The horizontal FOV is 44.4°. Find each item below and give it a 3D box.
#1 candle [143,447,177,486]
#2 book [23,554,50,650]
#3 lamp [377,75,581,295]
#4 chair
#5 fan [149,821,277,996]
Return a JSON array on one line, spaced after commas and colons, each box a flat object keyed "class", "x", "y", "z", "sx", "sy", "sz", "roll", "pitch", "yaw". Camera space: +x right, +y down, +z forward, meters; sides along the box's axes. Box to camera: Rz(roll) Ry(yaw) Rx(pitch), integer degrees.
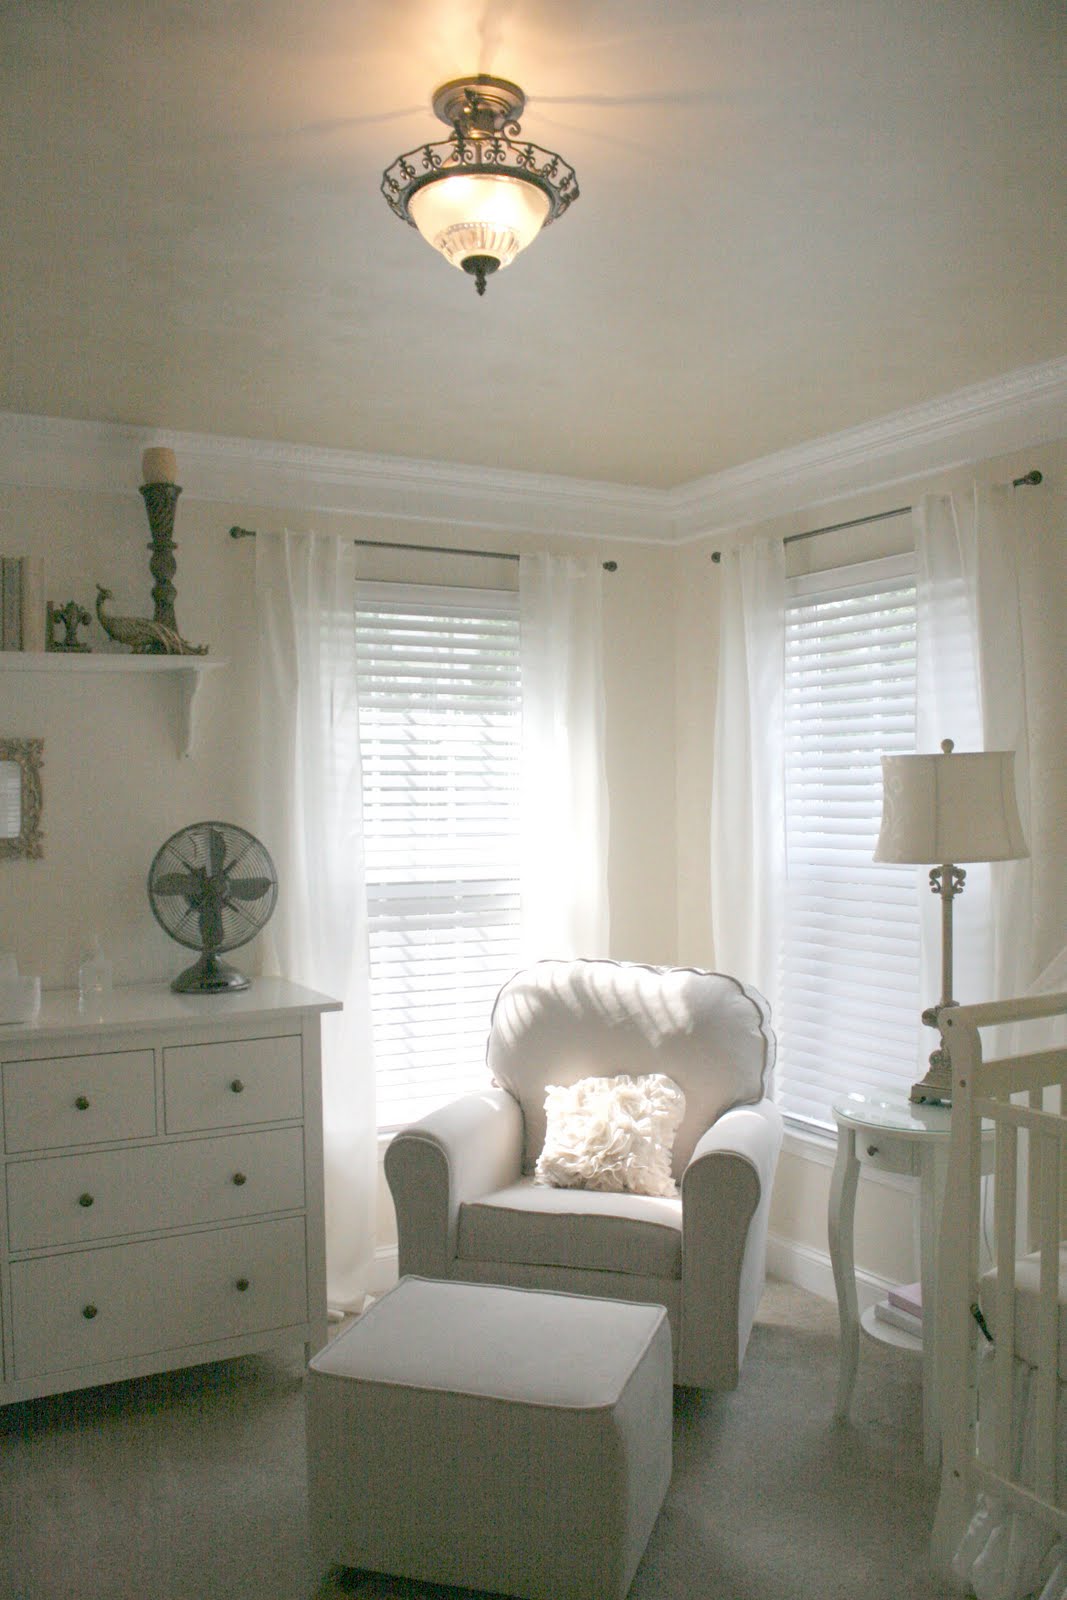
[{"class": "candle", "x": -0.875, "y": -0.778, "z": 3.076, "sx": 0.075, "sy": 0.099, "sz": 0.090, "roll": 0, "pitch": -2, "yaw": -3}, {"class": "book", "x": -1.111, "y": -0.435, "z": 2.950, "sx": 0.041, "sy": 0.200, "sz": 0.165, "roll": 1, "pitch": 4, "yaw": -6}, {"class": "lamp", "x": -0.071, "y": -0.791, "z": 1.772, "sx": 0.219, "sy": 0.241, "sz": 0.234, "roll": 0, "pitch": -6, "yaw": -2}, {"class": "chair", "x": 0.167, "y": 0.750, "z": 3.100, "sx": 0.958, "sy": 1.088, "sz": 0.810, "roll": 0, "pitch": -3, "yaw": 20}, {"class": "fan", "x": -0.797, "y": 0.260, "z": 3.176, "sx": 0.329, "sy": 0.508, "sz": 0.207, "roll": 2, "pitch": -5, "yaw": -21}]
